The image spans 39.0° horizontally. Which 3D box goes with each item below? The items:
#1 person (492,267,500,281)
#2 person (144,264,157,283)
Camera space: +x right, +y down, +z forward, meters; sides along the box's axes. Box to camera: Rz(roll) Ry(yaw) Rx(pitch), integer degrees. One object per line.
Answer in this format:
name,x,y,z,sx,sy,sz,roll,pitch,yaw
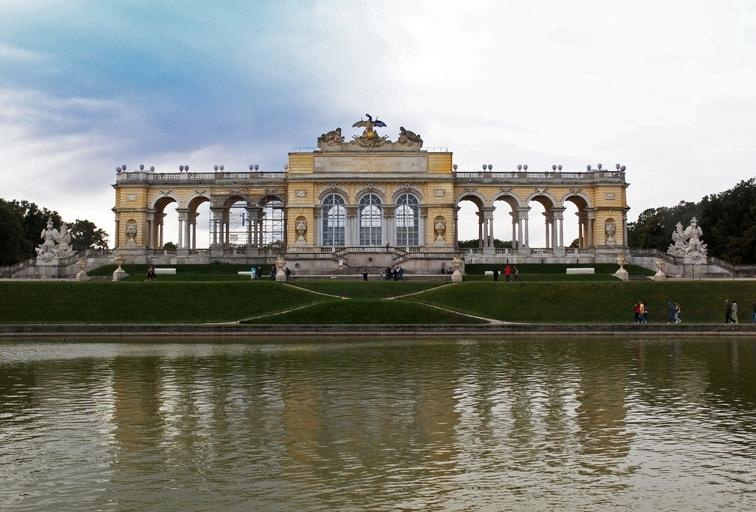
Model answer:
person,8.245,1.315,74.211,0.601,0.549,1.549,-2,-21,8
person,-16.019,1.199,74.475,0.632,0.790,1.806,-1,-19,-9
